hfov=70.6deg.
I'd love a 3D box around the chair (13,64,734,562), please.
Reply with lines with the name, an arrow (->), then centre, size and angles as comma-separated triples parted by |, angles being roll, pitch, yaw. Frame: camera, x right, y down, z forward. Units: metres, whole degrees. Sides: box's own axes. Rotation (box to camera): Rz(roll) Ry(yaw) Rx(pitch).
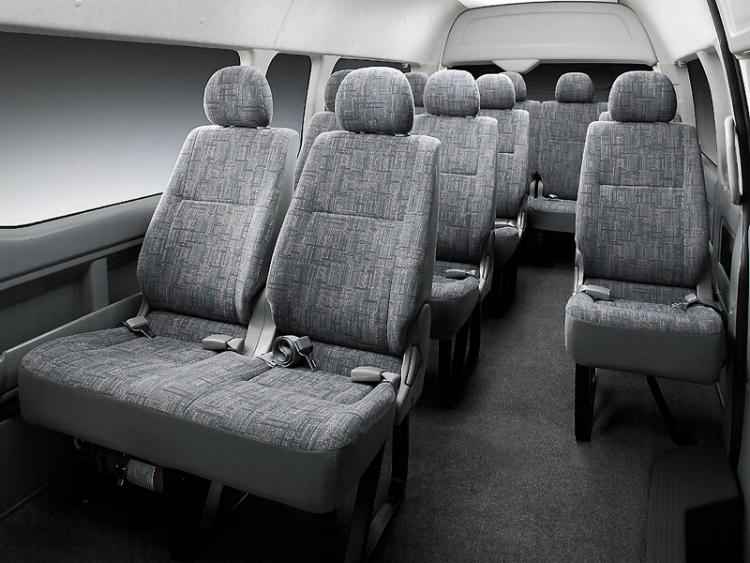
chair -> -0.015, 0.140, 2.221 | 1.824, 1.296, 0.887 | 5, 12, 21
